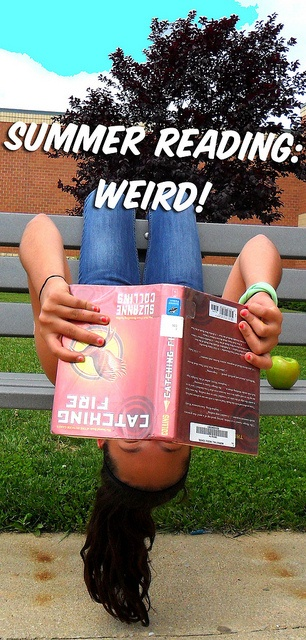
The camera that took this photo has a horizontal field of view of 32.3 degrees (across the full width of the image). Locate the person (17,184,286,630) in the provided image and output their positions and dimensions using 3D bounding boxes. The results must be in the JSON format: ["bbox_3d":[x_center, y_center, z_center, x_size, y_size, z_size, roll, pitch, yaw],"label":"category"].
[{"bbox_3d":[-0.030,0.019,1.539,0.655,0.495,1.422,-8,45,3],"label":"person"}]

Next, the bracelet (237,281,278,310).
[{"bbox_3d":[0.267,-0.055,1.347,0.065,0.043,0.081,2,-25,-38],"label":"bracelet"}]

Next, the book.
[{"bbox_3d":[0.009,0.094,1.051,0.469,0.353,0.113,0,-6,19],"label":"book"}]
